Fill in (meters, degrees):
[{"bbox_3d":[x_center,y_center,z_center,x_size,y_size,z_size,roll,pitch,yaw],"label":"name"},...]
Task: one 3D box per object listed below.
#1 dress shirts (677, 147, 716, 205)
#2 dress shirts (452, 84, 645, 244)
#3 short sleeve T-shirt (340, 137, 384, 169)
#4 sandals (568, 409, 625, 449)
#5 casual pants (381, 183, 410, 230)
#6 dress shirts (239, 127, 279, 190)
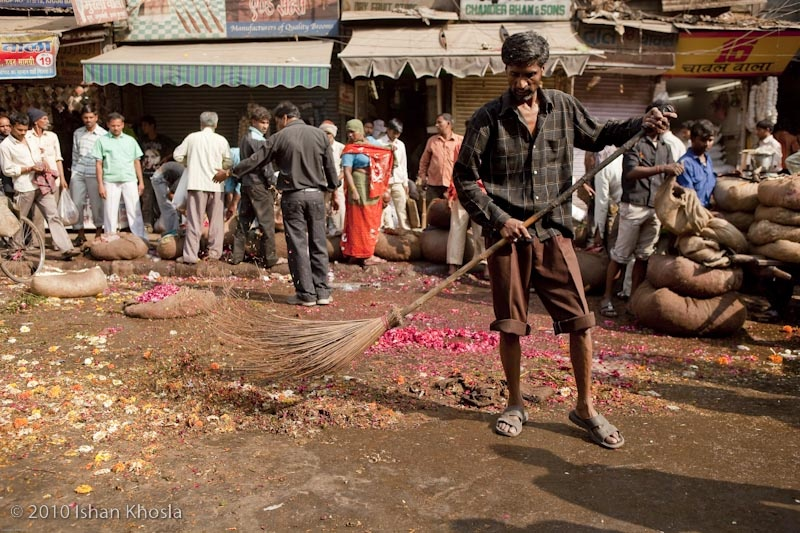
[{"bbox_3d":[3.709,-1.093,9.434,0.366,0.753,0.826,7,12,31],"label":"dress shirts"},{"bbox_3d":[1.195,-0.873,6.617,1.398,1.344,0.383,-3,11,-16],"label":"dress shirts"},{"bbox_3d":[-0.626,-1.703,11.340,0.785,0.465,0.481,-2,13,-6],"label":"short sleeve T-shirt"},{"bbox_3d":[1.722,1.398,6.594,0.206,0.144,0.480,-16,24,-28],"label":"sandals"},{"bbox_3d":[-0.100,-1.027,12.868,0.334,1.022,0.267,20,60,17],"label":"casual pants"},{"bbox_3d":[-1.967,-1.456,10.363,0.427,0.873,1.083,-5,13,-27],"label":"dress shirts"}]
